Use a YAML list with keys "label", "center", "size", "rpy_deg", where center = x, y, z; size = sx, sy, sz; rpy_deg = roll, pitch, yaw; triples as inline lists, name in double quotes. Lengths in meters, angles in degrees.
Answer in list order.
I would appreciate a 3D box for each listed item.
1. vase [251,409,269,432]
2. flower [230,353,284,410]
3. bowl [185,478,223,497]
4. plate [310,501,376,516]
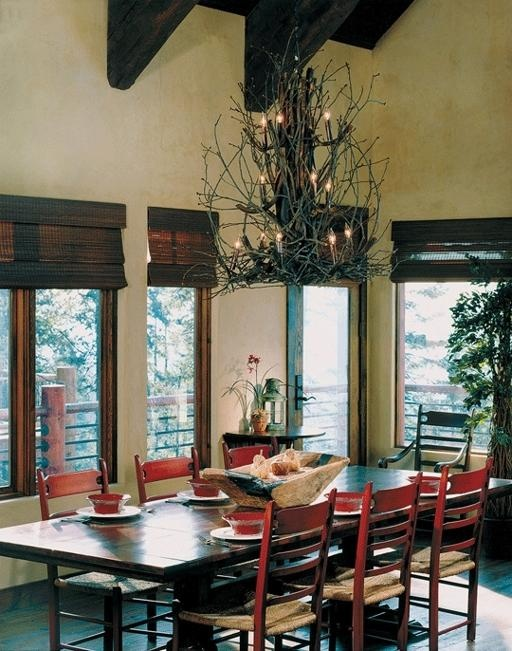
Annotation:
- label: "vase"
  center: [0.030, 0.743, 4.912]
  size: [0.167, 0.181, 0.154]
  rpy_deg: [-3, -4, 24]
- label: "flower"
  center: [-0.011, 0.439, 5.014]
  size: [0.466, 0.421, 0.441]
  rpy_deg: [0, -3, -15]
- label: "bowl"
  center: [-0.239, 0.762, 2.924]
  size: [0.156, 0.054, 0.148]
  rpy_deg: [0, 2, 0]
- label: "plate"
  center: [0.336, 0.708, 2.417]
  size: [0.188, 0.025, 0.185]
  rpy_deg: [0, 2, 31]
